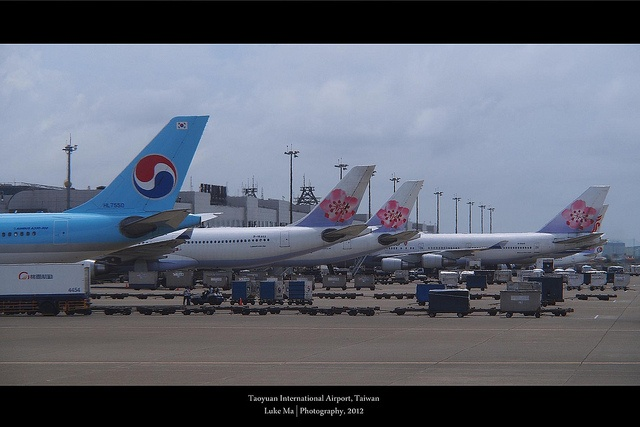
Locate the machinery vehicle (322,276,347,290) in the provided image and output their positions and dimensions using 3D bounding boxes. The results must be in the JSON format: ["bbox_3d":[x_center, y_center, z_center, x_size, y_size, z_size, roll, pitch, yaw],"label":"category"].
[{"bbox_3d":[0.904,4.194,70.318,1.198,0.549,1.031,-1,-7,1],"label":"machinery vehicle"}]

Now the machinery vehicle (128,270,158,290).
[{"bbox_3d":[-10.109,3.766,66.489,1.413,0.657,1.267,-1,-2,5],"label":"machinery vehicle"}]

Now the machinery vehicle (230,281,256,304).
[{"bbox_3d":[-3.771,3.805,55.821,1.020,1.082,1.493,1,-2,16],"label":"machinery vehicle"}]

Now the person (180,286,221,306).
[{"bbox_3d":[-5.539,3.967,54.661,1.716,0.612,0.902,0,-2,0],"label":"person"}]

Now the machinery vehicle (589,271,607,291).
[{"bbox_3d":[17.360,4.233,72.589,0.936,1.099,2.114,1,-2,12],"label":"machinery vehicle"}]

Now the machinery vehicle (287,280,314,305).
[{"bbox_3d":[-0.970,3.781,55.582,1.270,1.140,1.050,1,-2,9],"label":"machinery vehicle"}]

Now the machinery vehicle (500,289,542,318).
[{"bbox_3d":[8.689,3.999,50.418,2.283,1.194,1.104,-1,-10,7],"label":"machinery vehicle"}]

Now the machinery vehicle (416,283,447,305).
[{"bbox_3d":[5.173,3.658,53.916,1.772,0.975,0.969,0,-10,2],"label":"machinery vehicle"}]

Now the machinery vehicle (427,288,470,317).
[{"bbox_3d":[5.613,3.841,50.649,2.411,1.151,1.169,0,1,7],"label":"machinery vehicle"}]

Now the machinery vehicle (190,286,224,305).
[{"bbox_3d":[-5.318,3.967,54.812,1.554,0.704,1.205,1,-2,-5],"label":"machinery vehicle"}]

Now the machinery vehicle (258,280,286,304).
[{"bbox_3d":[-2.199,3.780,55.826,1.365,0.968,1.252,-3,-3,21],"label":"machinery vehicle"}]

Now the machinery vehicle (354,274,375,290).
[{"bbox_3d":[2.692,4.163,70.443,1.715,0.929,0.841,-1,-7,1],"label":"machinery vehicle"}]

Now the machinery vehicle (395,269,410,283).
[{"bbox_3d":[5.526,4.318,79.152,0.939,0.489,0.835,-1,2,14],"label":"machinery vehicle"}]

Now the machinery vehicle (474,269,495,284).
[{"bbox_3d":[11.104,4.243,79.844,1.819,0.856,1.629,-1,2,19],"label":"machinery vehicle"}]

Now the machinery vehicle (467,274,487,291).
[{"bbox_3d":[9.323,4.092,69.120,0.532,0.827,1.586,2,-2,-29],"label":"machinery vehicle"}]

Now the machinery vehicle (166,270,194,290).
[{"bbox_3d":[-8.073,3.747,66.083,1.439,0.677,1.180,0,-6,-4],"label":"machinery vehicle"}]

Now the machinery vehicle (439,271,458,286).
[{"bbox_3d":[7.457,3.888,66.889,1.662,0.900,0.782,-1,-7,4],"label":"machinery vehicle"}]

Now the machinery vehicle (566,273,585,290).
[{"bbox_3d":[15.964,4.281,72.853,1.476,1.065,0.685,0,-4,0],"label":"machinery vehicle"}]

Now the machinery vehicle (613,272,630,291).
[{"bbox_3d":[18.850,4.264,72.845,1.365,1.026,0.640,0,-12,3],"label":"machinery vehicle"}]
